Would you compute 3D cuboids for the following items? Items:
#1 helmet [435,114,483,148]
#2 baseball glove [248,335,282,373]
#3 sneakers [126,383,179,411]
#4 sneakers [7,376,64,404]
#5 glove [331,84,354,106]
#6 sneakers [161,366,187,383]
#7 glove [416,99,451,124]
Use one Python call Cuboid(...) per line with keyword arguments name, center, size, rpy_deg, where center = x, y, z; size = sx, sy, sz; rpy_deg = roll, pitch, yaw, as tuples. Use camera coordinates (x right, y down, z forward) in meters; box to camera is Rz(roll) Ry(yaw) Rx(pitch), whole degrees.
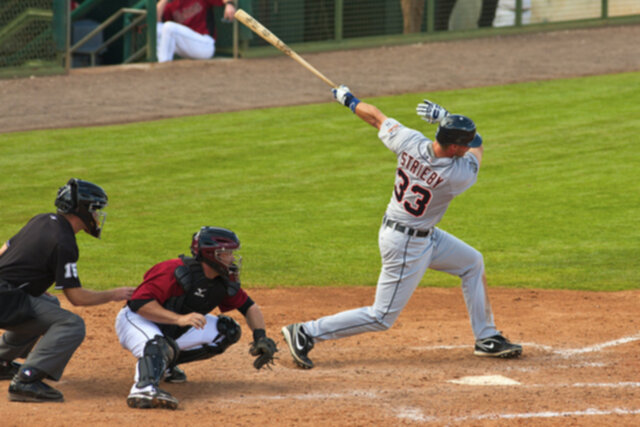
Cuboid(name="helmet", center=(1.561, -0.926, 13.936), size=(0.433, 0.350, 0.216), rpy_deg=(2, 11, 4))
Cuboid(name="baseball glove", center=(-0.622, 1.586, 13.743), size=(0.340, 0.344, 0.180), rpy_deg=(6, 17, 13))
Cuboid(name="sneakers", center=(-1.825, 2.031, 13.456), size=(0.665, 0.201, 0.266), rpy_deg=(4, 33, 6))
Cuboid(name="sneakers", center=(-3.157, 1.977, 13.467), size=(0.661, 0.228, 0.239), rpy_deg=(1, 0, -6))
Cuboid(name="glove", center=(0.297, -1.423, 14.766), size=(0.216, 0.260, 0.134), rpy_deg=(-40, -20, 16))
Cuboid(name="sneakers", center=(-1.647, 1.862, 13.971), size=(0.380, 0.201, 0.116), rpy_deg=(0, 16, -8))
Cuboid(name="glove", center=(1.284, -1.183, 14.272), size=(0.415, 0.216, 0.100), rpy_deg=(22, -31, -19))
